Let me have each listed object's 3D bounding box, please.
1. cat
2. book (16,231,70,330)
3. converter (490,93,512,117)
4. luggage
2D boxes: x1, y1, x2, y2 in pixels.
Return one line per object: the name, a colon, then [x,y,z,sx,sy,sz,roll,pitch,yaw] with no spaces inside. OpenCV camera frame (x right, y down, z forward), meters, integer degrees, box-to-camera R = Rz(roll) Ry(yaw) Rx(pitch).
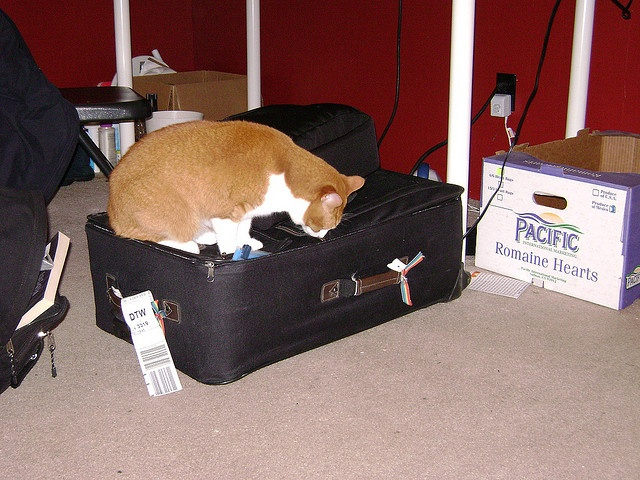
cat: [-0.242,-0.145,1.897,0.653,0.379,0.347,13,37,-16]
book: [-0.695,0.103,1.656,0.050,0.196,0.205,24,-6,-25]
converter: [0.669,-0.489,2.320,0.064,0.085,0.084,19,35,40]
luggage: [-0.035,-0.057,1.851,0.869,0.339,0.612,-19,30,-35]
